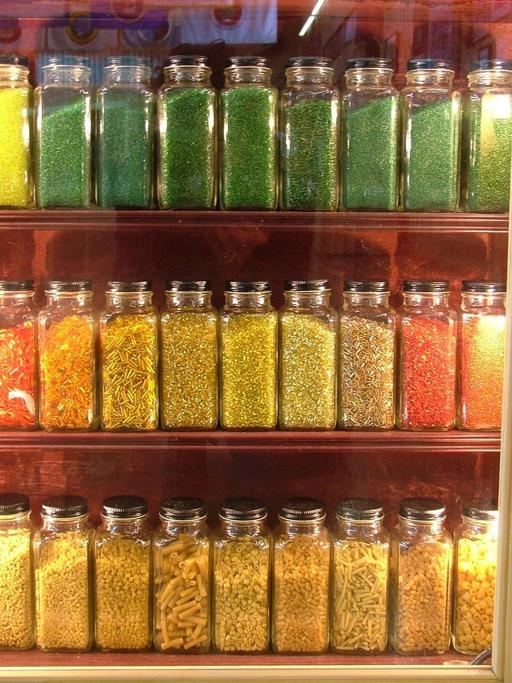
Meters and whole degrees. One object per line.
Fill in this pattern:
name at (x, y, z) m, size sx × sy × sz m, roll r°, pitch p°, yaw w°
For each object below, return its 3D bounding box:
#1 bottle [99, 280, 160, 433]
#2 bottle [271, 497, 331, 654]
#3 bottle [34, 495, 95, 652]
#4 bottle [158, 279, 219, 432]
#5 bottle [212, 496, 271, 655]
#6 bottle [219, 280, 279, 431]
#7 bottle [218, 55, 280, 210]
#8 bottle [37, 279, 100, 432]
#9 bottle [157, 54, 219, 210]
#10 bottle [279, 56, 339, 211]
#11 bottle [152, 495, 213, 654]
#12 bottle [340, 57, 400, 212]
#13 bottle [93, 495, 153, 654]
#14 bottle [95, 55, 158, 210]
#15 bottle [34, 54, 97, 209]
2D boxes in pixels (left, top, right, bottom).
bottle at (-0.238, 0.025, 1.348) m, size 0.108 × 0.264 × 0.143 m, roll -1°, pitch 24°, yaw -9°
bottle at (0.087, 0.442, 1.372) m, size 0.117 × 0.249 × 0.199 m, roll 4°, pitch 23°, yaw 1°
bottle at (-0.362, 0.440, 1.349) m, size 0.107 × 0.246 × 0.168 m, roll -3°, pitch 24°, yaw -13°
bottle at (-0.127, 0.023, 1.352) m, size 0.109 × 0.271 × 0.131 m, roll 0°, pitch 24°, yaw -7°
bottle at (-0.027, 0.437, 1.368) m, size 0.111 × 0.244 × 0.198 m, roll 2°, pitch 23°, yaw -3°
bottle at (-0.016, 0.025, 1.354) m, size 0.112 × 0.271 × 0.127 m, roll 2°, pitch 24°, yaw -4°
bottle at (-0.013, -0.392, 1.342) m, size 0.117 × 0.269 × 0.150 m, roll 2°, pitch 23°, yaw -3°
bottle at (-0.357, 0.027, 1.350) m, size 0.114 × 0.261 × 0.146 m, roll -2°, pitch 24°, yaw -12°
bottle at (-0.130, -0.393, 1.341) m, size 0.111 × 0.269 × 0.162 m, roll 0°, pitch 24°, yaw -7°
bottle at (0.102, -0.391, 1.345) m, size 0.120 × 0.271 × 0.140 m, roll 3°, pitch 24°, yaw 0°
bottle at (-0.143, 0.437, 1.369) m, size 0.109 × 0.243 × 0.205 m, roll 0°, pitch 23°, yaw -6°
bottle at (0.216, -0.392, 1.352) m, size 0.123 × 0.271 × 0.131 m, roll 3°, pitch 24°, yaw -1°
bottle at (-0.250, 0.453, 1.348) m, size 0.104 × 0.223 × 0.151 m, roll 0°, pitch 23°, yaw -8°
bottle at (-0.245, -0.395, 1.345) m, size 0.108 × 0.267 × 0.158 m, roll -1°, pitch 24°, yaw -9°
bottle at (-0.362, -0.388, 1.345) m, size 0.108 × 0.251 × 0.169 m, roll -2°, pitch 24°, yaw -12°
